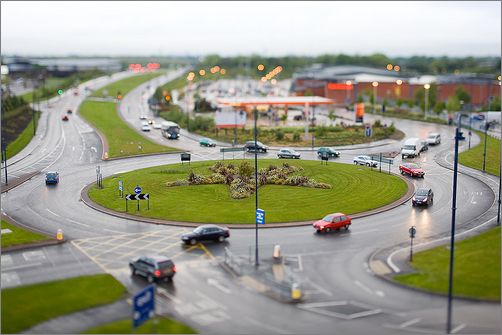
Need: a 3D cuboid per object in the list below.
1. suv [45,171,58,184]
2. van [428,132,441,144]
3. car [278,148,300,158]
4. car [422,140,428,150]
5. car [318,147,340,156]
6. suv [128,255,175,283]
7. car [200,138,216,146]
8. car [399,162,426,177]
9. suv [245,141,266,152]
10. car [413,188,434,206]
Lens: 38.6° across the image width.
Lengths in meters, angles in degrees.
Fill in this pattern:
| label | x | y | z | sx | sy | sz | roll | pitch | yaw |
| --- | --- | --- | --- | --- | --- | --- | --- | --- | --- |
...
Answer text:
| label | x | y | z | sx | sy | sz | roll | pitch | yaw |
| --- | --- | --- | --- | --- | --- | --- | --- | --- | --- |
| suv | -30.207 | 1.530 | 108.137 | 1.400 | 0.972 | 2.151 | -1 | 11 | -19 |
| van | 34.481 | -5.262 | 135.001 | 1.560 | 1.324 | 3.500 | 0 | 4 | 37 |
| car | 6.596 | -2.317 | 124.355 | 3.032 | 1.155 | 1.675 | 0 | 5 | 21 |
| car | 31.601 | -3.861 | 129.797 | 0.916 | 1.405 | 2.725 | 6 | 16 | 26 |
| car | 13.625 | -2.665 | 125.338 | 3.152 | 1.245 | 1.670 | -1 | 9 | 7 |
| suv | -10.867 | 11.189 | 78.593 | 4.628 | 2.619 | 1.711 | 4 | 16 | 20 |
| car | -8.420 | -4.749 | 138.451 | 2.599 | 1.104 | 1.412 | 0 | 9 | 15 |
| car | 24.760 | 0.559 | 110.048 | 2.260 | 1.567 | 3.585 | -10 | 16 | -31 |
| suv | 0.860 | -3.611 | 130.406 | 3.461 | 1.513 | 1.851 | -1 | 9 | 2 |
| car | 23.500 | 4.125 | 97.338 | 2.204 | 1.817 | 3.161 | 7 | 16 | 30 |
